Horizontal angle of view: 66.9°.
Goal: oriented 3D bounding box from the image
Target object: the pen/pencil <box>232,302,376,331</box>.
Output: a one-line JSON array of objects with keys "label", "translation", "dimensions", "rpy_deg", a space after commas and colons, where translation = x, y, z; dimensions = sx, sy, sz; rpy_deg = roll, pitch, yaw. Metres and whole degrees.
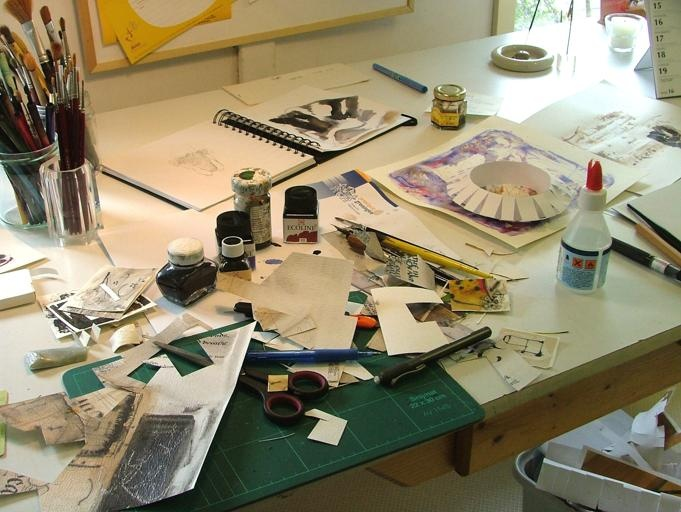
[{"label": "pen/pencil", "translation": [-0.047, 0.077, 0.697], "dimensions": [0.197, 0.020, 0.028], "rpy_deg": [4, 33, 6]}]

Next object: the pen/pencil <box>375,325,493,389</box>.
[{"label": "pen/pencil", "translation": [0.115, 0.129, 0.640], "dimensions": [0.153, 0.018, 0.021], "rpy_deg": [-19, 28, -25]}]

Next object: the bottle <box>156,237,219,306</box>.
[{"label": "bottle", "translation": [-0.220, 0.022, 0.732], "dimensions": [0.067, 0.072, 0.082], "rpy_deg": [21, 31, 34]}]

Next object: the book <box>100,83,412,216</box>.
[{"label": "book", "translation": [-0.169, -0.238, 1.072], "dimensions": [0.329, 0.069, 0.456], "rpy_deg": [27, 43, 35]}]

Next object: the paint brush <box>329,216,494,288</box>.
[{"label": "paint brush", "translation": [0.108, -0.001, 0.803], "dimensions": [0.289, 0.026, 0.026], "rpy_deg": [18, 24, 13]}]

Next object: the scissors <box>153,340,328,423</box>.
[{"label": "scissors", "translation": [-0.123, 0.134, 0.632], "dimensions": [0.220, 0.029, 0.080], "rpy_deg": [19, 36, 29]}]

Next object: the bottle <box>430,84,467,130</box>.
[{"label": "bottle", "translation": [0.240, -0.325, 1.139], "dimensions": [0.082, 0.071, 0.078], "rpy_deg": [12, 37, 17]}]
